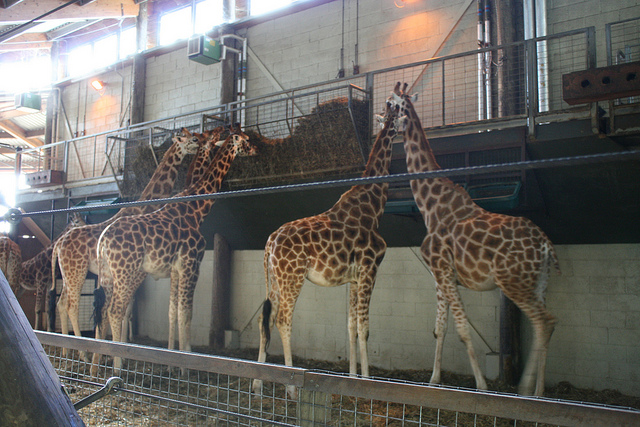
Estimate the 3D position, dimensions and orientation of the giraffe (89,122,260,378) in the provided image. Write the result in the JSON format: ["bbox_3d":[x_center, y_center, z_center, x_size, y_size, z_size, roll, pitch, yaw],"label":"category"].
[{"bbox_3d":[-2.604,0.635,13.363,2.498,4.282,1.156,-1,-2,-19],"label":"giraffe"}]

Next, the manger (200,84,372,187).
[{"bbox_3d":[-0.613,-1.338,13.919,3.239,1.197,1.131,-6,-11,29],"label":"manger"}]
